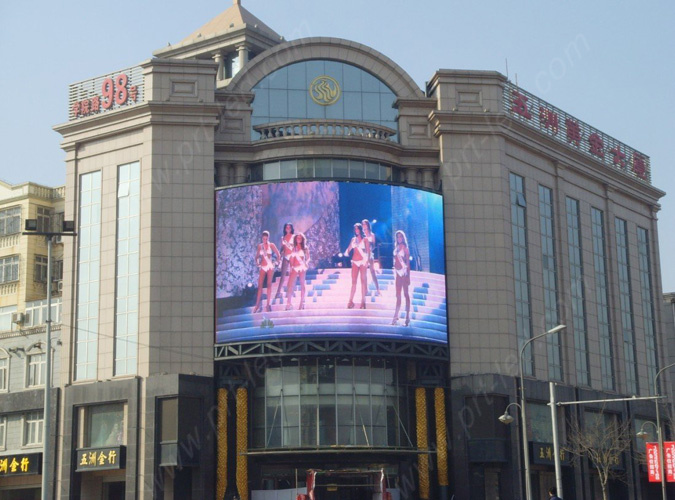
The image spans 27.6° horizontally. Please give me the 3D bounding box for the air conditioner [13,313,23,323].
[{"bbox_3d":[-23.836,5.007,102.540,0.886,0.879,0.653,1,-7,-13],"label":"air conditioner"}]
